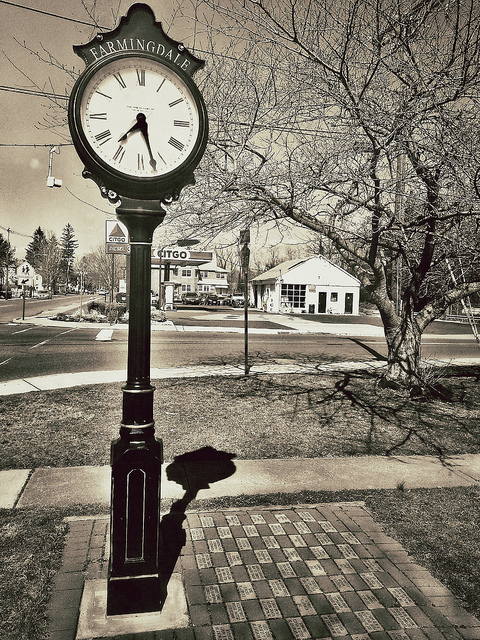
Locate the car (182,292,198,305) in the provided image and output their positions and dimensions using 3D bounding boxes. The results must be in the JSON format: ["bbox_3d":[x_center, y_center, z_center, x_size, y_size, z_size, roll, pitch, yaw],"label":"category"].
[{"bbox_3d":[-5.234,-2.224,61.286,1.345,1.464,3.054,0,-5,-8],"label":"car"}]

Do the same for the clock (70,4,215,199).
[{"bbox_3d":[-0.586,-1.275,3.465,0.824,1.131,0.175,-1,4,-26],"label":"clock"}]

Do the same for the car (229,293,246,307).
[{"bbox_3d":[-0.247,-2.406,64.400,1.784,1.818,3.065,0,-1,-17],"label":"car"}]
